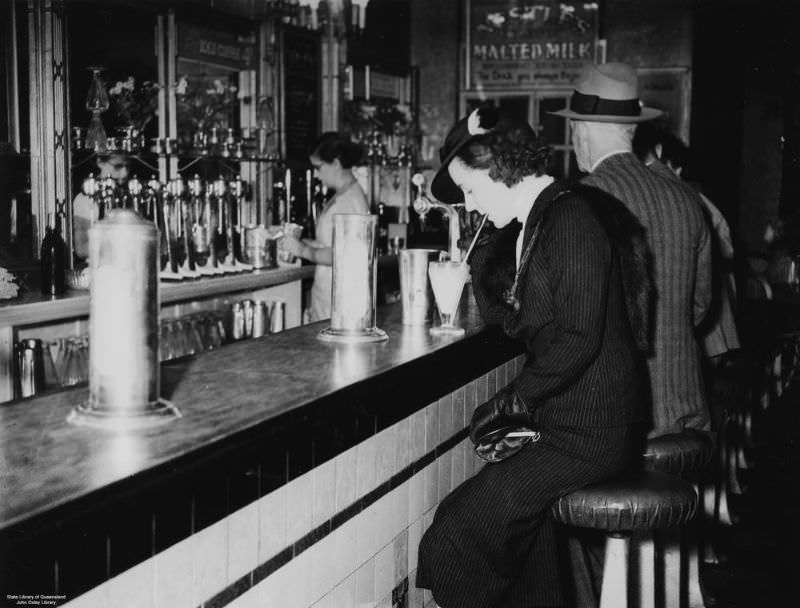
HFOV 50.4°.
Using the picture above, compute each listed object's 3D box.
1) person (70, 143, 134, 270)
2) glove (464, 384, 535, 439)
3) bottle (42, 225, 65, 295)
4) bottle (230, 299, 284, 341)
[{"bbox_3d":[-1.660,-0.578,4.710,0.289,0.564,0.872,2,11,-18],"label":"person"},{"bbox_3d":[0.295,0.321,2.538,0.170,0.148,0.067,-32,-18,26],"label":"glove"},{"bbox_3d":[-1.600,-0.199,3.918,0.105,0.277,0.278,1,11,-23],"label":"bottle"},{"bbox_3d":[-0.879,0.088,5.118,0.279,0.315,0.201,6,5,40],"label":"bottle"}]
